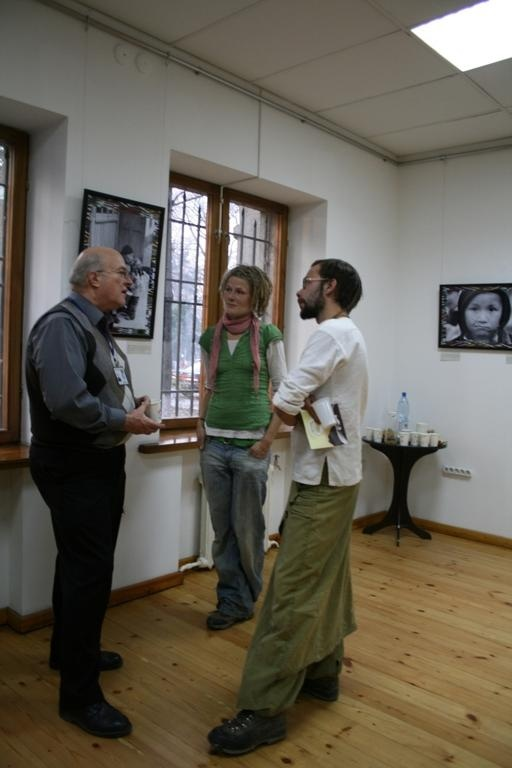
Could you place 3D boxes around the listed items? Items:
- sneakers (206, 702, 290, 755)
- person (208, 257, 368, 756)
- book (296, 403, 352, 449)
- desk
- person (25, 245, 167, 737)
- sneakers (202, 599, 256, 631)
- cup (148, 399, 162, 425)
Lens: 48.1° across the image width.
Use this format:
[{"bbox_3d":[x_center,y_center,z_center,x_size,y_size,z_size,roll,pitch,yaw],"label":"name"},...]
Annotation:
[{"bbox_3d":[-0.003,1.034,1.757,0.274,0.132,0.097,9,2,-33],"label":"sneakers"},{"bbox_3d":[0.164,0.354,1.806,0.308,1.046,0.529,2,-2,37],"label":"person"},{"bbox_3d":[0.199,0.117,1.693,0.139,0.099,0.071,3,-1,4],"label":"book"},{"bbox_3d":[1.098,0.799,4.344,0.533,0.661,0.536,3,-7,14],"label":"desk"},{"bbox_3d":[-0.523,0.309,1.799,0.401,1.382,0.359,4,-2,-27],"label":"person"},{"bbox_3d":[-0.127,1.087,2.668,0.228,0.103,0.081,9,-13,-30],"label":"sneakers"},{"bbox_3d":[-0.429,0.115,2.420,0.095,0.102,0.095,1,4,0],"label":"cup"}]
